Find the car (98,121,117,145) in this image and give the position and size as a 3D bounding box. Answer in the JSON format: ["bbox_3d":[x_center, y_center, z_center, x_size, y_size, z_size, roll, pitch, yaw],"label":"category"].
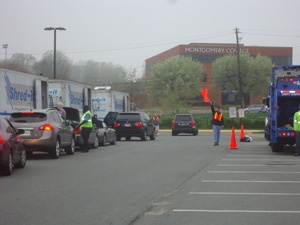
[{"bbox_3d":[-2.516,1.230,25.415,0.661,1.553,2.896,-1,3,5],"label":"car"}]

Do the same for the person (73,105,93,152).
[{"bbox_3d":[-3.046,0.781,21.127,0.680,2.166,0.842,-2,3,-11],"label":"person"}]

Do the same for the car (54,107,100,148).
[{"bbox_3d":[-3.644,0.745,22.940,1.263,1.360,2.340,1,1,6],"label":"car"}]

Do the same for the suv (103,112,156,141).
[{"bbox_3d":[-1.444,0.951,29.941,1.877,1.691,4.668,0,1,10],"label":"suv"}]

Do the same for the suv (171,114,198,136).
[{"bbox_3d":[2.963,1.147,38.905,2.113,1.884,0.997,-2,3,1],"label":"suv"}]
